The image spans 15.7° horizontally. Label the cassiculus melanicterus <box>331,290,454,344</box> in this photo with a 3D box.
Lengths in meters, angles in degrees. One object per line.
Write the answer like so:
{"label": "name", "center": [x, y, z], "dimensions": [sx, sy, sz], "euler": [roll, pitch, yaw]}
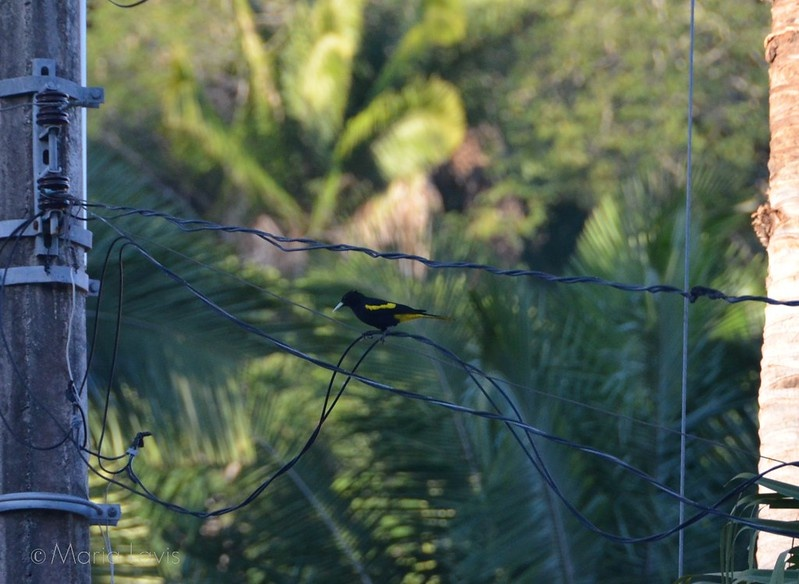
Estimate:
{"label": "cassiculus melanicterus", "center": [-0.353, 0.193, 37.003], "dimensions": [2.030, 0.738, 0.508], "euler": [-1, 21, 25]}

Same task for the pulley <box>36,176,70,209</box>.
{"label": "pulley", "center": [-4.025, -1.262, 34.744], "dimensions": [0.446, 0.393, 0.404], "euler": [-3, -12, -5]}

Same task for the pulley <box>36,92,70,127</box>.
{"label": "pulley", "center": [-4.071, -2.264, 34.926], "dimensions": [0.471, 0.363, 0.429], "euler": [0, 1, -12]}
